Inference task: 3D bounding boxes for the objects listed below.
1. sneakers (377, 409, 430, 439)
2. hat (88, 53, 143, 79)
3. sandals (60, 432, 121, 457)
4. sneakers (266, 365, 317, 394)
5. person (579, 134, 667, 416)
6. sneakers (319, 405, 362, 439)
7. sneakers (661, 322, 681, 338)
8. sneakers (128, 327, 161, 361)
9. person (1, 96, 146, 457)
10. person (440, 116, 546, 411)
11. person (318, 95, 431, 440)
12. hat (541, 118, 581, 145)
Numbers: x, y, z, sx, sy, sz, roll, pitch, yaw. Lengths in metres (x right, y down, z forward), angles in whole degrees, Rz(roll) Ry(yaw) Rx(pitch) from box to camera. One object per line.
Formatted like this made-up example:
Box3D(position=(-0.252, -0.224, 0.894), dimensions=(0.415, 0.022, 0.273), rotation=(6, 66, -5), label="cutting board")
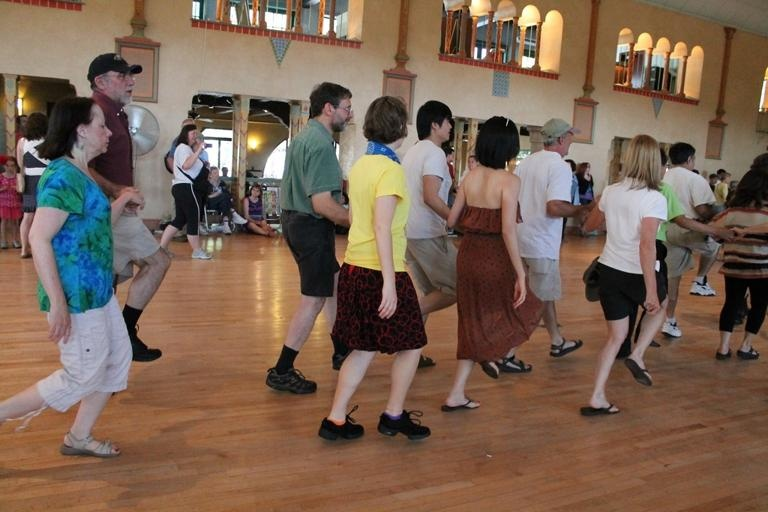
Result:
Box3D(position=(0.127, 1.066, 3.542), dimensions=(0.351, 0.173, 0.158), rotation=(5, -1, -11), label="sneakers")
Box3D(position=(-1.880, -1.312, 3.871), dimensions=(0.305, 0.210, 0.446), rotation=(-2, 13, -22), label="hat")
Box3D(position=(-1.660, 1.086, 3.198), dimensions=(0.335, 0.131, 0.131), rotation=(3, -2, -8), label="sandals")
Box3D(position=(-0.659, 0.907, 4.018), dimensions=(0.391, 0.180, 0.154), rotation=(8, -3, -7), label="sneakers")
Box3D(position=(1.711, 0.119, 3.966), dimensions=(0.589, 1.935, 0.806), rotation=(10, 14, 27), label="person")
Box3D(position=(-0.239, 1.037, 3.481), dimensions=(0.315, 0.221, 0.141), rotation=(7, 5, -28), label="sneakers")
Box3D(position=(2.907, 0.741, 5.579), dimensions=(0.265, 0.120, 0.096), rotation=(-4, 6, -44), label="sneakers")
Box3D(position=(-1.801, 0.662, 4.168), dimensions=(0.254, 0.250, 0.119), rotation=(-3, 20, 15), label="sneakers")
Box3D(position=(-1.695, 0.160, 2.986), dimensions=(0.600, 1.980, 0.502), rotation=(1, 13, -12), label="person")
Box3D(position=(0.753, 0.080, 3.759), dimensions=(0.674, 1.989, 0.421), rotation=(4, 12, 6), label="person")
Box3D(position=(-0.001, 0.114, 3.379), dimensions=(0.647, 2.070, 0.474), rotation=(4, 12, 5), label="person")
Box3D(position=(1.492, -1.056, 4.684), dimensions=(0.267, 0.154, 0.189), rotation=(-27, 25, -5), label="hat")
